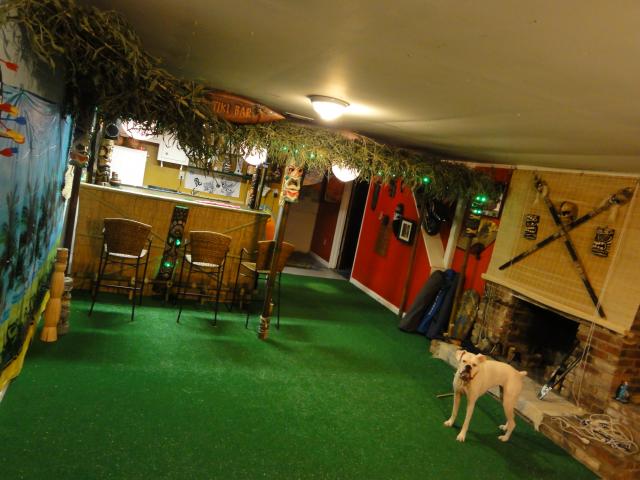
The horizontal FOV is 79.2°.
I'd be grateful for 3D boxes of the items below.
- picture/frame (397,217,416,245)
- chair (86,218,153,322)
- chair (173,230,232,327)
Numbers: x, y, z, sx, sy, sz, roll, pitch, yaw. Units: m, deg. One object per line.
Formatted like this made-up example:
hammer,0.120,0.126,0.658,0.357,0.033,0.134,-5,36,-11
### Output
picture/frame,1.748,-0.187,7.714,0.063,0.555,0.440,4,7,-26
chair,-2.657,0.204,5.155,0.805,1.636,0.716,3,7,-34
chair,-1.662,0.469,5.583,0.691,1.052,1.208,9,3,-20
